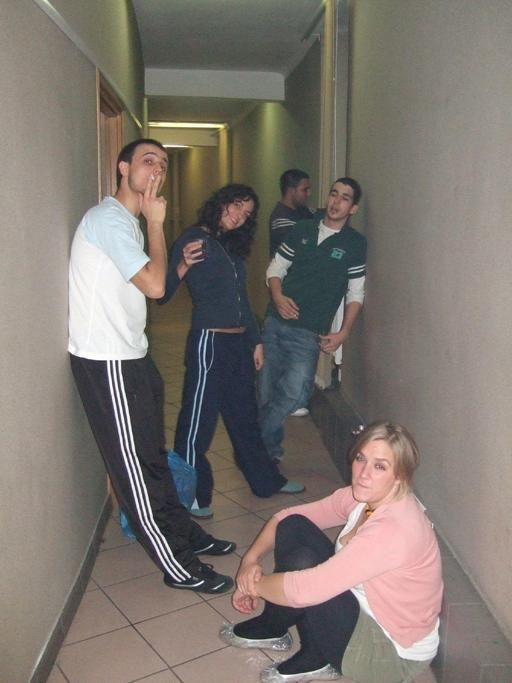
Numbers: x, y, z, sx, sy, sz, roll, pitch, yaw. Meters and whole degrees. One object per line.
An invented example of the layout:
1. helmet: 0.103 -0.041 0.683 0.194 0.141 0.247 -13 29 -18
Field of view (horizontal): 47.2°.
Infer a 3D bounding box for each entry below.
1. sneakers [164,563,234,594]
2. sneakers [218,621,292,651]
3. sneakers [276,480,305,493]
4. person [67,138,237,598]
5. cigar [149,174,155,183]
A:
1. sneakers: -0.192 0.895 2.241 0.315 0.128 0.100 1 21 -5
2. sneakers: -0.011 0.942 1.910 0.187 0.044 0.098 6 -12 0
3. sneakers: 0.190 0.786 3.170 0.124 0.045 0.061 -6 23 -9
4. person: -0.374 0.141 2.037 0.352 1.652 0.447 11 13 42
5. cigar: -0.346 -0.536 1.919 0.017 0.026 0.007 1 -15 -5
